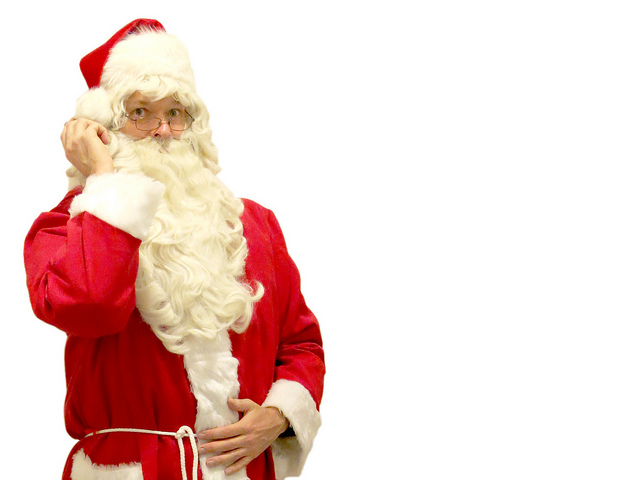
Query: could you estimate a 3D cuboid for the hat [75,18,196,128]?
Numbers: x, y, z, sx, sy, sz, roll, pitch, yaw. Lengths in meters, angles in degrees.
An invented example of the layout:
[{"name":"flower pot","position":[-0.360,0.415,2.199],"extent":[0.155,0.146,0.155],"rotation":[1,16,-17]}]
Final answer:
[{"name":"hat","position":[-0.900,-0.864,4.955],"extent":[0.672,0.412,0.436],"rotation":[3,-70,15]}]
